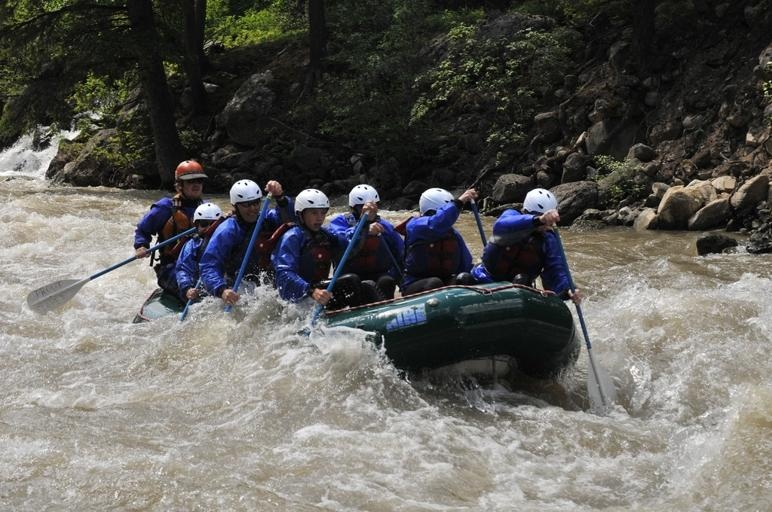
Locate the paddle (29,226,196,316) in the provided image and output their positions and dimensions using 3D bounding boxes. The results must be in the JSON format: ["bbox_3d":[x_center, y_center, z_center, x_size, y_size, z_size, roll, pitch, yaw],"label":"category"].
[{"bbox_3d":[-4.935,0.327,15.379,3.205,0.482,0.151,-30,26,-25],"label":"paddle"}]
